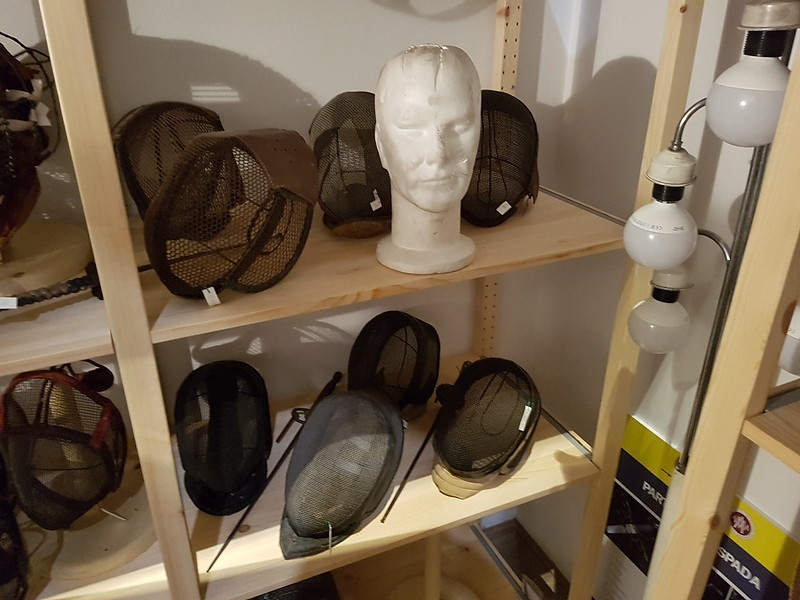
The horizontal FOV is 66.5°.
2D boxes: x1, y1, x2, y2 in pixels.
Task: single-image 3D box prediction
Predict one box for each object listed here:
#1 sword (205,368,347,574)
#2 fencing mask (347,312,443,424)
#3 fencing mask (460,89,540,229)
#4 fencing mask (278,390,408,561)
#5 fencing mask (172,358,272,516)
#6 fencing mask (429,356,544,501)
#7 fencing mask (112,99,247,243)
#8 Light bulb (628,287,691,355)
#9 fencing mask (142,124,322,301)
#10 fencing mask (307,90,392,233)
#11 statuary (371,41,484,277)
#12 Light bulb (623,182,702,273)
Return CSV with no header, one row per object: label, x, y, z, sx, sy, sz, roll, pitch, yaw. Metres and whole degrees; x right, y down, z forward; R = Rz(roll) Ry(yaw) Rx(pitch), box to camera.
sword,-0.261,0.362,1.247,0.038,0.585,0.069,27,-26,4
fencing mask,-0.007,0.154,1.470,0.204,0.280,0.104,17,-10,4
fencing mask,0.211,-0.283,1.250,0.174,0.268,0.087,9,0,25
fencing mask,-0.105,0.341,1.286,0.213,0.330,0.101,29,-4,4
fencing mask,-0.363,0.274,1.262,0.196,0.325,0.094,-6,2,-28
fencing mask,0.186,0.305,1.352,0.220,0.160,0.327,11,55,37
fencing mask,-0.439,-0.229,1.130,0.184,0.263,0.089,-10,17,-30
Light bulb,0.510,0.023,1.204,0.107,0.166,0.112,10,11,26
fencing mask,-0.279,-0.166,1.097,0.254,0.271,0.341,8,3,35
fencing mask,-0.100,-0.280,1.261,0.169,0.258,0.194,2,8,-1
statuary,0.044,-0.241,1.063,0.186,0.359,0.162,1,28,7
Light bulb,0.430,-0.135,1.022,0.121,0.189,0.124,12,19,40
